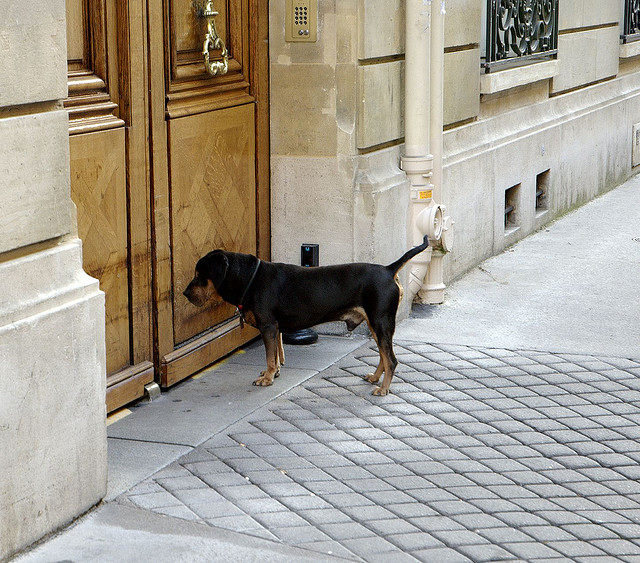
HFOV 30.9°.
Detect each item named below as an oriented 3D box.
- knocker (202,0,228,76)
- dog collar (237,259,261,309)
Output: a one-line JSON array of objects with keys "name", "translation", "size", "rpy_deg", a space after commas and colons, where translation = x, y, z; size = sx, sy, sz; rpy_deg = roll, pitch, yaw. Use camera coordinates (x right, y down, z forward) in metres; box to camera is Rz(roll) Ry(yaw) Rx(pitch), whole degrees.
[{"name": "knocker", "translation": [-0.628, -1.480, 7.081], "size": [0.128, 0.452, 0.452], "rpy_deg": [2, 15, 4]}, {"name": "dog collar", "translation": [-0.407, 0.007, 6.780], "size": [0.037, 0.308, 0.055], "rpy_deg": [32, -18, -18]}]
